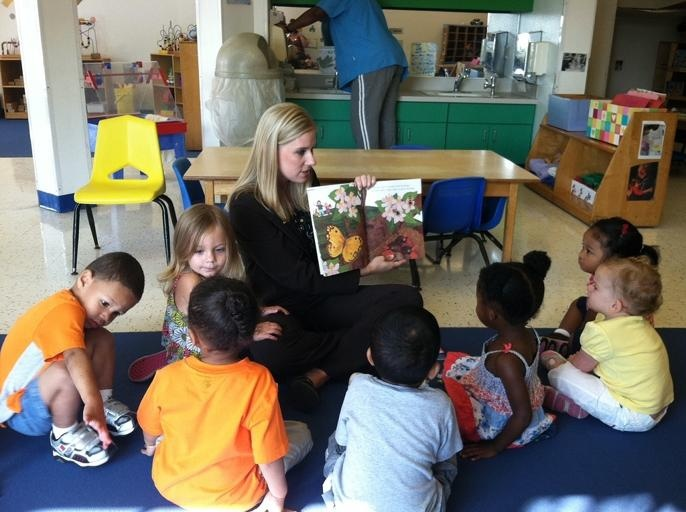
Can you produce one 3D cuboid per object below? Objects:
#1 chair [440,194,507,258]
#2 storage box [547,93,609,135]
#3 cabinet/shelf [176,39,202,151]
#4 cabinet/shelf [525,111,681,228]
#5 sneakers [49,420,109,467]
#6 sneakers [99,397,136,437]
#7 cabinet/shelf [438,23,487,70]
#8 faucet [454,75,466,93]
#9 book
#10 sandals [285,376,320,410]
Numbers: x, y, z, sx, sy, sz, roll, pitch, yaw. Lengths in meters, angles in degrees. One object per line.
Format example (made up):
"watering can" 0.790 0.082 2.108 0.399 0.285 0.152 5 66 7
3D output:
"chair" 0.871 -0.246 3.671 0.454 0.534 0.465 1 0 -20
"storage box" 2.306 -1.433 5.232 0.446 0.279 0.441 -5 20 -20
"cabinet/shelf" -2.035 -2.124 7.102 0.254 1.405 0.393 -6 21 -14
"cabinet/shelf" 2.261 -0.751 4.665 0.460 0.810 1.186 -4 26 -5
"sneakers" -0.954 0.693 1.987 0.246 0.121 0.122 14 -18 2
"sneakers" -0.904 0.618 2.135 0.203 0.081 0.072 32 32 27
"cabinet/shelf" 1.989 -3.607 8.986 0.722 0.652 0.421 1 20 2
"faucet" 1.378 -2.075 6.372 0.081 0.190 0.195 13 24 33
"book" 0.093 -0.146 2.549 0.533 0.359 0.093 -13 9 -27
"sandals" -0.170 0.569 2.254 0.074 0.081 0.173 -18 25 -40
